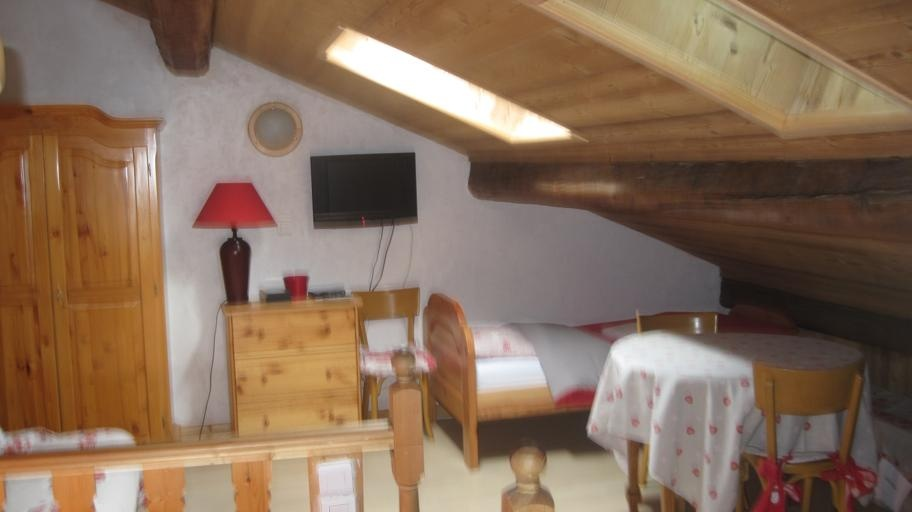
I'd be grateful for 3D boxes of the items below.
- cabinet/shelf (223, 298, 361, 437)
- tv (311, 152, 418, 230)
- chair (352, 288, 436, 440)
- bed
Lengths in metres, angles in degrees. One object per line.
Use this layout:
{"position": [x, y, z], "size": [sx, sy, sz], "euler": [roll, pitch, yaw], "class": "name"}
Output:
{"position": [-1.390, 0.953, 5.450], "size": [1.086, 1.122, 0.695], "euler": [-2, 4, -24], "class": "cabinet/shelf"}
{"position": [-0.849, -0.591, 5.654], "size": [0.725, 0.480, 0.074], "euler": [-2, 1, -9], "class": "tv"}
{"position": [-0.574, 0.924, 5.554], "size": [0.688, 1.200, 0.655], "euler": [-6, 6, -20], "class": "chair"}
{"position": [1.020, 1.014, 5.428], "size": [2.313, 0.941, 1.444], "euler": [-1, 6, -11], "class": "bed"}
